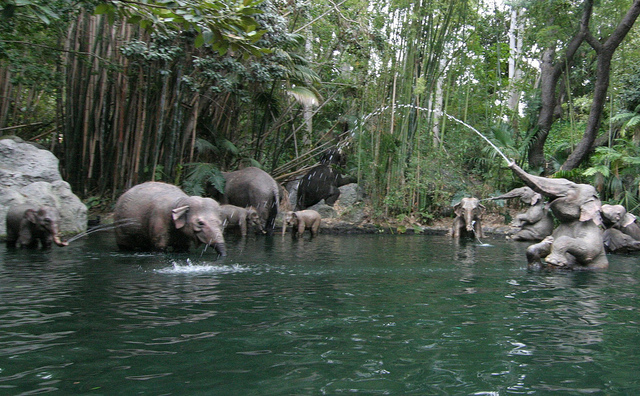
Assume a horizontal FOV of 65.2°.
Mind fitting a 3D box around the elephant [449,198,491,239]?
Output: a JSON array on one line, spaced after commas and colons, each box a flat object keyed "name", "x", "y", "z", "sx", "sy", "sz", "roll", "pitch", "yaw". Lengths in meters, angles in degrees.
[{"name": "elephant", "x": 4.080, "y": 0.555, "z": 13.915, "sx": 0.910, "sy": 1.127, "sz": 0.847, "roll": 1, "pitch": -2, "yaw": 10}]

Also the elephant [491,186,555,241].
[{"name": "elephant", "x": 5.707, "y": 0.433, "z": 13.909, "sx": 2.111, "sy": 1.357, "sz": 1.236, "roll": -2, "pitch": 10, "yaw": 31}]

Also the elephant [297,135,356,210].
[{"name": "elephant", "x": 0.023, "y": -0.759, "z": 15.509, "sx": 1.615, "sy": 1.494, "sz": 3.036, "roll": 10, "pitch": 35, "yaw": 23}]

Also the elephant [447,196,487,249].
[{"name": "elephant", "x": 4.047, "y": 0.545, "z": 13.869, "sx": 0.913, "sy": 1.155, "sz": 1.058, "roll": 1, "pitch": -2, "yaw": 7}]

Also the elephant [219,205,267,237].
[{"name": "elephant", "x": -2.118, "y": 0.585, "z": 12.943, "sx": 1.476, "sy": 0.554, "sz": 0.554, "roll": 7, "pitch": -7, "yaw": -33}]

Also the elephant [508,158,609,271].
[{"name": "elephant", "x": 4.061, "y": 0.370, "z": 8.820, "sx": 2.318, "sy": 1.565, "sz": 1.308, "roll": 4, "pitch": 3, "yaw": -17}]
